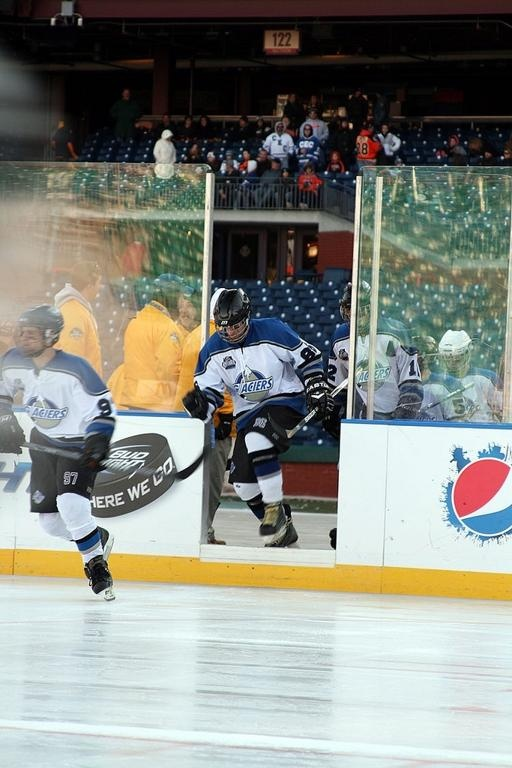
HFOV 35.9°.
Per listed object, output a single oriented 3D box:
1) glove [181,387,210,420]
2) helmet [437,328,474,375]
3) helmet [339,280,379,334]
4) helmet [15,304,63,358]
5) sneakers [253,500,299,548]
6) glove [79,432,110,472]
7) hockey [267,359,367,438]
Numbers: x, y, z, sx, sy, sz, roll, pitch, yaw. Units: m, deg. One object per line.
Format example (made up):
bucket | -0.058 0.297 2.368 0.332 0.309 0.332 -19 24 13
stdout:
glove | -0.340 0.106 4.548 0.161 0.163 0.070 -41 18 -5
helmet | 1.159 -0.184 4.500 0.193 0.251 0.244 -5 33 21
helmet | 0.646 -0.450 4.723 0.239 0.285 0.308 -1 -6 3
helmet | -1.161 -0.282 4.210 0.245 0.296 0.309 -3 3 29
sneakers | 0.170 0.818 4.608 0.128 0.256 0.381 -12 -13 9
glove | -0.811 0.343 3.975 0.139 0.201 0.122 0 5 -15
hockey | 0.366 0.076 4.648 0.086 0.065 0.767 37 48 4
